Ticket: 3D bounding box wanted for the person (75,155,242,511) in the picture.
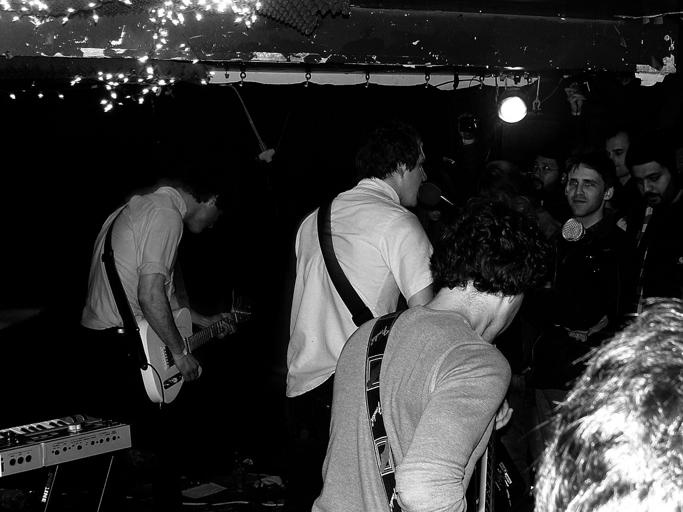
[{"bbox_3d":[-1.217,0.554,4.387,0.728,2.316,1.174,2,7,2],"label":"person"}]
